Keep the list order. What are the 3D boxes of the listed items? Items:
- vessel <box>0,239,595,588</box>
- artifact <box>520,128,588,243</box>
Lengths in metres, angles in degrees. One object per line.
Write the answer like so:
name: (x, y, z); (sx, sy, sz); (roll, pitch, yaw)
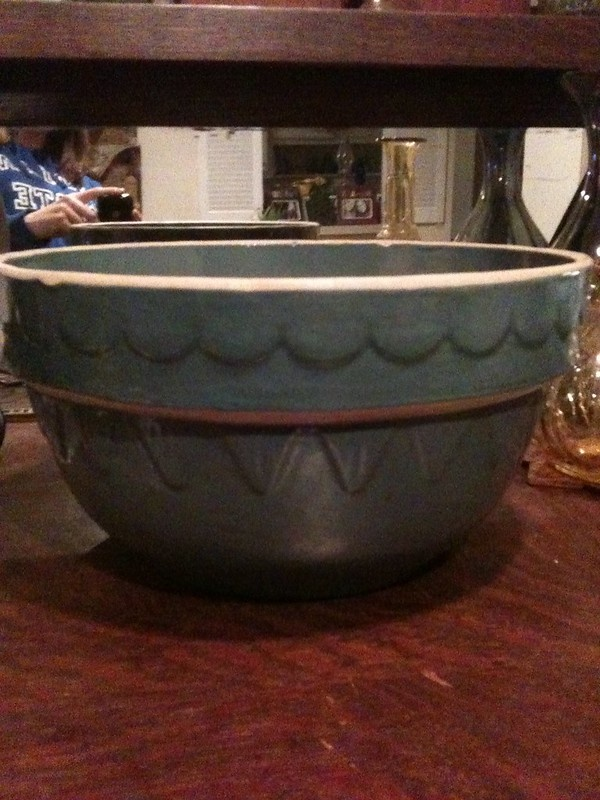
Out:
vessel: (0.002, 0.017, 0.301); (0.246, 0.143, 0.107); (-2, 9, -10)
artifact: (1.082, -0.942, 3.199); (0.221, 0.424, 0.465); (3, 10, 16)
